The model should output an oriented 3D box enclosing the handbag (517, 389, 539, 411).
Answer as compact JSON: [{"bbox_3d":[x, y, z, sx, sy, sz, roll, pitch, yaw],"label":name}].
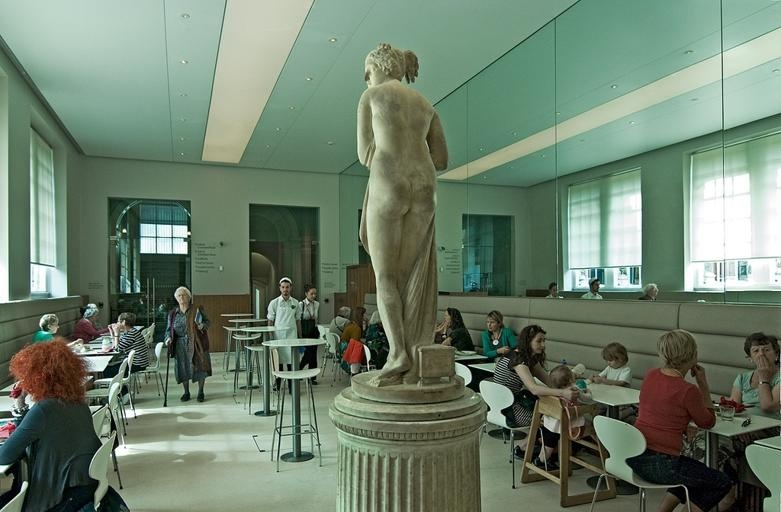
[{"bbox_3d":[1.776,1.862,8.571,0.227,0.072,0.233,21,39,20],"label":"handbag"}]

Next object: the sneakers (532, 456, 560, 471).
[{"bbox_3d":[1.978,2.614,8.396,0.370,0.162,0.135,8,0,-19],"label":"sneakers"}]

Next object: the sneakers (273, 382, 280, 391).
[{"bbox_3d":[-1.939,2.204,11.249,0.136,0.185,0.174,7,-17,-32],"label":"sneakers"}]

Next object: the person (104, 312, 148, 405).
[{"bbox_3d":[-4.556,1.651,11.254,0.822,1.411,0.574,1,7,-12],"label":"person"}]

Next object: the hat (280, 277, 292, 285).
[{"bbox_3d":[-2.168,0.491,13.571,0.230,0.136,0.236,-1,-2,26],"label":"hat"}]

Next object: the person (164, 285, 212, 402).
[{"bbox_3d":[-3.462,1.531,11.323,0.737,1.977,0.750,-5,12,-19],"label":"person"}]

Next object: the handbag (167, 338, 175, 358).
[{"bbox_3d":[-3.729,1.565,11.275,0.107,0.331,0.358,-4,12,-13],"label":"handbag"}]

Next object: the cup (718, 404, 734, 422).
[{"bbox_3d":[3.650,1.695,7.204,0.128,0.125,0.156,6,-9,-29],"label":"cup"}]
